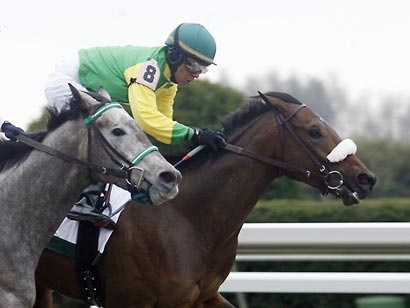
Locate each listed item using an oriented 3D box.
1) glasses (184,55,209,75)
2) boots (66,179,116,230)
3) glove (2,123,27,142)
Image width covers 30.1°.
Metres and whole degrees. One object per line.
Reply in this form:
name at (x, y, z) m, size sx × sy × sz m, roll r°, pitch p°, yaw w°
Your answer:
glasses at (-0.048, -0.522, 4.547) m, size 0.136 × 0.054 × 0.105 m, roll 23°, pitch -1°, yaw 41°
boots at (-0.624, 0.278, 4.322) m, size 0.260 × 0.262 × 0.103 m, roll -1°, pitch -43°, yaw 12°
glove at (-0.993, -0.107, 3.967) m, size 0.160 × 0.054 × 0.043 m, roll 27°, pitch -21°, yaw 38°
